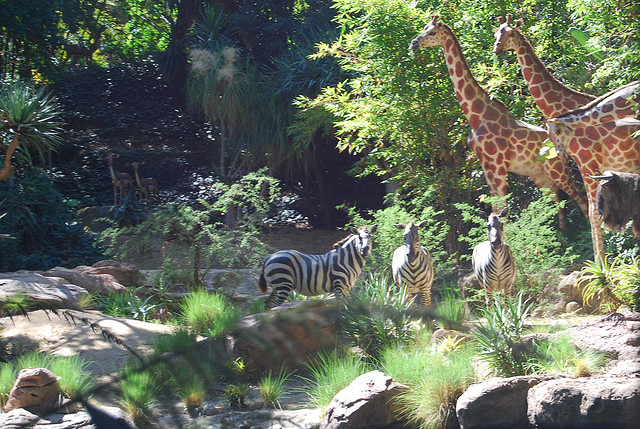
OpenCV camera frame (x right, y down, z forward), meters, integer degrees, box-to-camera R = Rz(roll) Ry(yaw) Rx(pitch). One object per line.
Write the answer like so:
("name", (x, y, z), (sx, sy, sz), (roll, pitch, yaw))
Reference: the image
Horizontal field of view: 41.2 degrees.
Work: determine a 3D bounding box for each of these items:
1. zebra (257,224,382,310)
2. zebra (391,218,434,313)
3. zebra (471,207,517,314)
("zebra", (-0.107, 1.026, 16.374), (2.226, 1.541, 1.250), (-2, -2, 9))
("zebra", (1.753, 0.937, 16.203), (0.759, 1.691, 1.053), (-2, -2, 4))
("zebra", (3.254, 0.874, 15.960), (0.486, 1.750, 0.738), (-1, -3, -25))
